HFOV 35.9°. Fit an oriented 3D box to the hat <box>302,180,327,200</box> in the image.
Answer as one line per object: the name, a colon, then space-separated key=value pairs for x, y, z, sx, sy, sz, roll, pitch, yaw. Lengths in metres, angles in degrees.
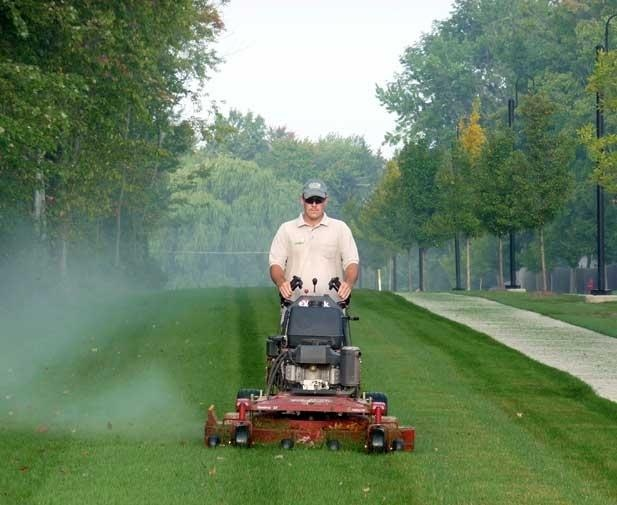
hat: x=0.129 y=-1.086 z=16.544 sx=0.377 sy=0.345 sz=0.688 roll=1 pitch=-5 yaw=1
